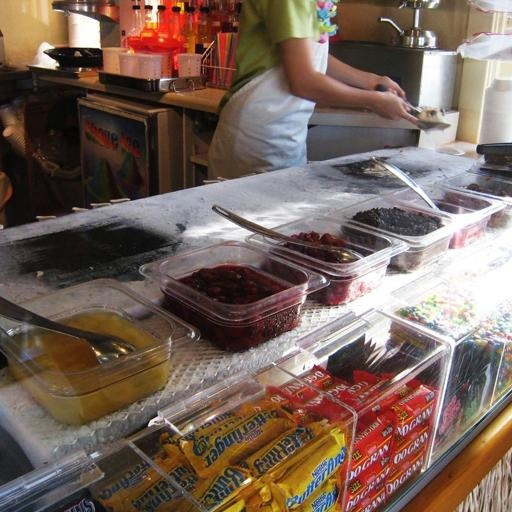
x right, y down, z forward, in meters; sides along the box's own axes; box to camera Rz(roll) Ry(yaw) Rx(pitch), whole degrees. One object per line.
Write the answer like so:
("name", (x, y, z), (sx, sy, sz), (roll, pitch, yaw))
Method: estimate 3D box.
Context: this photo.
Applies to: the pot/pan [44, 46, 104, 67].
("pot/pan", (-1.277, -1.406, 3.081), (0.371, 0.140, 0.240), (-6, 22, -13))
